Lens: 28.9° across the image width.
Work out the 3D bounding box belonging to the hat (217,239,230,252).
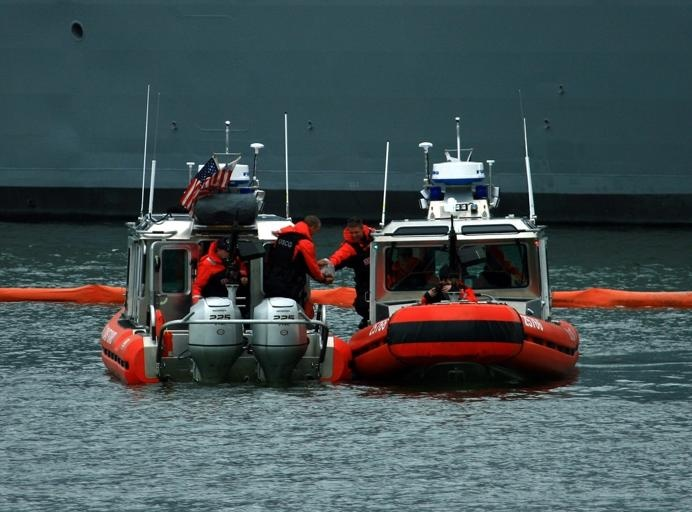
[{"bbox_3d":[-1.744,-0.145,18.987,0.257,0.176,0.100,14,20,42],"label":"hat"}]

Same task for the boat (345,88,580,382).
[{"bbox_3d":[1.743,0.255,20.706,3.078,2.917,4.612,0,2,5],"label":"boat"}]

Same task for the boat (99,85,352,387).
[{"bbox_3d":[-1.810,0.209,19.073,2.836,3.199,2.514,-8,17,-29],"label":"boat"}]
